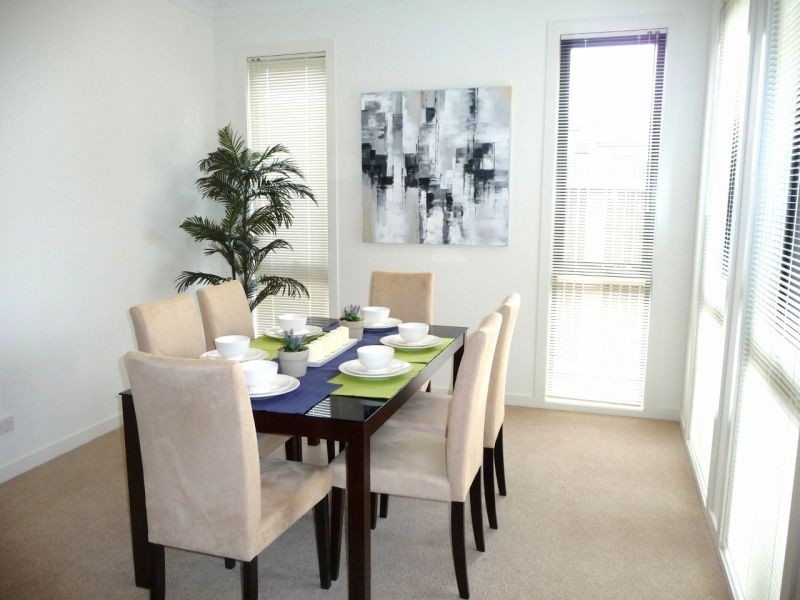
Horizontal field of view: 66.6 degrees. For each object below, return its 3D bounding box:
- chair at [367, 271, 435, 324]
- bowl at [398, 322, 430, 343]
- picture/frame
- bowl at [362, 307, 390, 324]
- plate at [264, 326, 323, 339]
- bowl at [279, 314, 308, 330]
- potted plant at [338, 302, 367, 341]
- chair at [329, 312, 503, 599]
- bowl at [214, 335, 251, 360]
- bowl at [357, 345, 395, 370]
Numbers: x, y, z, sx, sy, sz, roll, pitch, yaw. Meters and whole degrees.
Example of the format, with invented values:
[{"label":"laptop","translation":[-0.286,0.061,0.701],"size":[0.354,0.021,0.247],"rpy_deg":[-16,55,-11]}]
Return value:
[{"label":"chair","translation":[0.052,-0.018,4.446],"size":[0.337,0.524,0.393],"rpy_deg":[1,1,13]},{"label":"bowl","translation":[0.075,0.170,3.407],"size":[0.110,0.072,0.113],"rpy_deg":[-3,13,1]},{"label":"picture/frame","translation":[0.335,-1.124,4.945],"size":[1.263,1.331,0.023],"rpy_deg":[0,7,9]},{"label":"bowl","translation":[-0.148,0.089,3.822],"size":[0.109,0.069,0.111],"rpy_deg":[-2,11,0]},{"label":"plate","translation":[-0.575,0.189,3.589],"size":[0.151,0.022,0.157],"rpy_deg":[4,9,21]},{"label":"bowl","translation":[-0.590,0.120,3.470],"size":[0.117,0.066,0.110],"rpy_deg":[-1,14,0]},{"label":"potted plant","translation":[-0.291,0.125,3.726],"size":[0.183,0.285,0.193],"rpy_deg":[-2,2,17]},{"label":"chair","translation":[0.036,0.704,3.866],"size":[1.113,2.104,1.167],"rpy_deg":[4,7,14]},{"label":"bowl","translation":[-0.839,0.228,3.054],"size":[0.124,0.084,0.129],"rpy_deg":[-6,13,1]},{"label":"bowl","translation":[-0.110,0.259,2.947],"size":[0.122,0.078,0.123],"rpy_deg":[-2,16,1]}]
